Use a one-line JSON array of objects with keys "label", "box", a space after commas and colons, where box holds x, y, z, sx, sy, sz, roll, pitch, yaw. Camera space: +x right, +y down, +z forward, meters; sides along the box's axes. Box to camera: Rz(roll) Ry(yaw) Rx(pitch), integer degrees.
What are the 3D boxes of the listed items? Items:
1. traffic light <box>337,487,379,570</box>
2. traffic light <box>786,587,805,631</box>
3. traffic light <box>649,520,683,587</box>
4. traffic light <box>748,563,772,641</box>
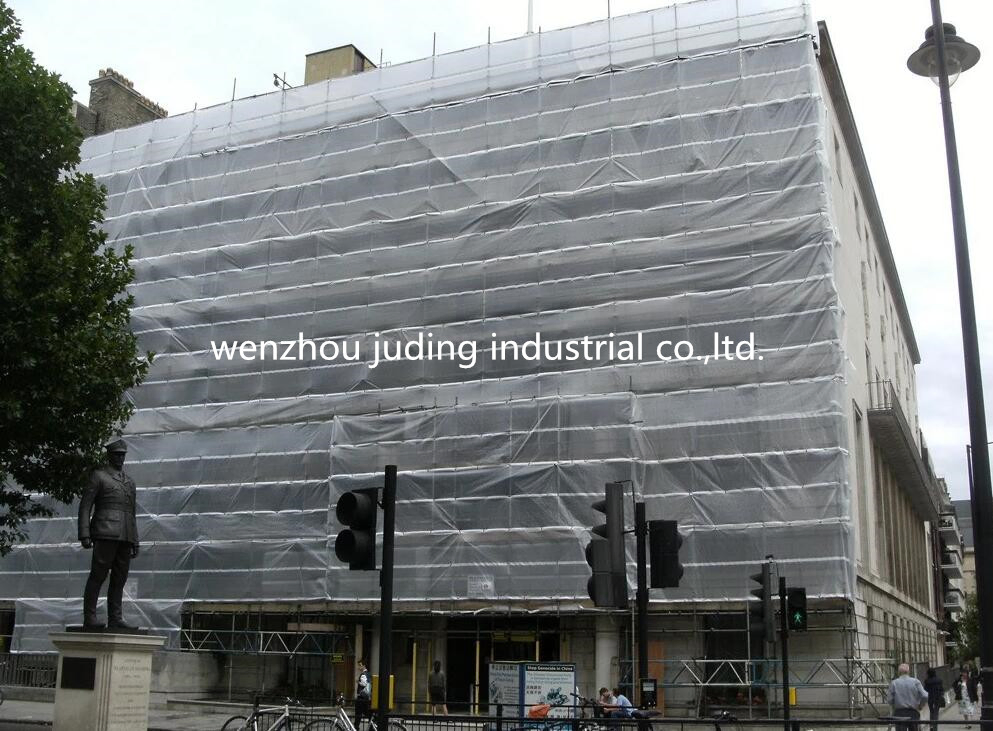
[{"label": "traffic light", "box": [-2.511, 2.911, 24.286, 0.732, 1.523, 0.574, 3, -21, -6]}, {"label": "traffic light", "box": [6.924, 5.616, 31.607, 0.401, 0.885, 0.483, -6, -22, 16]}, {"label": "traffic light", "box": [3.541, 3.961, 28.721, 0.669, 1.486, 0.909, -2, -21, 7]}, {"label": "traffic light", "box": [6.094, 5.371, 31.149, 0.478, 1.967, 1.016, -4, -22, 11]}]
